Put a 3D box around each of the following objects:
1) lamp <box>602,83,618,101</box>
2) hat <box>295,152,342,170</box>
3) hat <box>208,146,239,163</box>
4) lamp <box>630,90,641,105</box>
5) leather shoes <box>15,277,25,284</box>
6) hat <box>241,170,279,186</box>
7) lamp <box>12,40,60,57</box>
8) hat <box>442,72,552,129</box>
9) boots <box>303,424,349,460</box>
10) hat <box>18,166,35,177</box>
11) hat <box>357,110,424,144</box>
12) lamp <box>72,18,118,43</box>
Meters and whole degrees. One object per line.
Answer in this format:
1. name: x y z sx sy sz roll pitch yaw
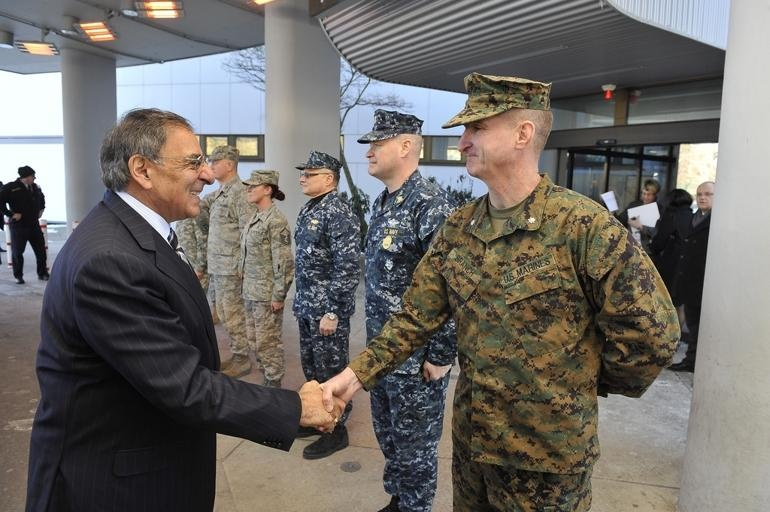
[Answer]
1. lamp: 3.506 -2.556 9.096 0.203 0.184 0.207 6 -2 18
2. hat: -0.525 -0.800 4.999 0.306 0.121 0.219 1 5 -12
3. hat: -1.741 -1.106 6.264 0.259 0.095 0.183 -4 0 -3
4. lamp: 3.905 -2.476 9.114 0.166 0.180 0.177 3 -1 -2
5. leather shoes: -6.226 0.428 9.962 0.094 0.156 0.154 -5 -12 -5
6. hat: -1.146 -0.747 5.565 0.258 0.103 0.180 -5 5 -21
7. lamp: -7.192 -4.350 12.093 0.688 0.208 0.900 -3 9 -28
8. hat: 0.606 -0.791 2.956 0.427 0.177 0.322 -5 12 -14
9. boots: -0.451 1.480 4.699 0.462 0.200 0.180 0 -3 -44
10. hat: -6.271 -1.476 10.192 0.195 0.194 0.249 5 12 13
11. hat: 0.067 -0.894 4.021 0.373 0.167 0.243 -6 9 -25
12. lamp: -5.311 -4.152 10.726 0.532 0.154 0.590 -10 -12 -11
